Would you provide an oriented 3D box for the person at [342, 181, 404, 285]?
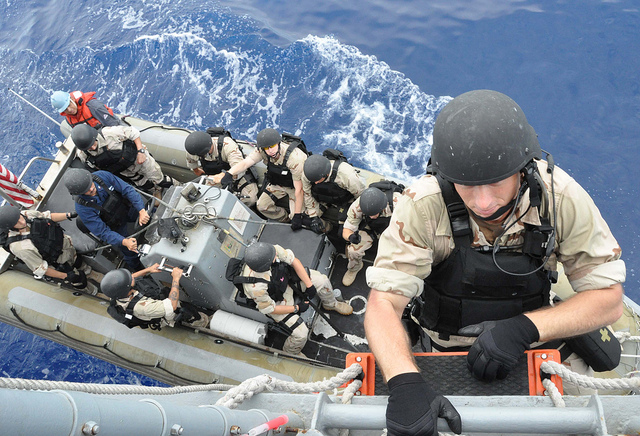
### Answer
[{"bbox_3d":[0.749,0.159,8.418,0.759,1.456,1.098,29,92,22],"label":"person"}]

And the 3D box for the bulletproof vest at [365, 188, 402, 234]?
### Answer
[{"bbox_3d":[1.055,-0.033,9.760,0.488,0.803,0.670,1,55,4],"label":"bulletproof vest"}]

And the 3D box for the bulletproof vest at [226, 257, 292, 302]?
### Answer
[{"bbox_3d":[-0.974,0.896,9.100,0.943,0.457,0.562,12,62,16],"label":"bulletproof vest"}]

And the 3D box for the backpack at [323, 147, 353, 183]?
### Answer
[{"bbox_3d":[0.193,-1.025,9.971,0.413,0.570,0.609,28,111,27],"label":"backpack"}]

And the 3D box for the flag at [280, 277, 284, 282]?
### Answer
[{"bbox_3d":[-0.608,0.958,8.946,0.073,0.023,0.076,8,82,-13],"label":"flag"}]

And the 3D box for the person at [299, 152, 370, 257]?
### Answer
[{"bbox_3d":[0.222,-0.305,10.251,1.222,2.167,1.180,-11,40,3],"label":"person"}]

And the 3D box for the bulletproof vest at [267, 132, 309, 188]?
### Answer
[{"bbox_3d":[-0.519,-0.946,10.366,0.542,1.143,0.799,26,49,29],"label":"bulletproof vest"}]

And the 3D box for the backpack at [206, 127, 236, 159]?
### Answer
[{"bbox_3d":[-1.843,-1.405,11.018,0.474,0.668,0.707,10,92,-5],"label":"backpack"}]
